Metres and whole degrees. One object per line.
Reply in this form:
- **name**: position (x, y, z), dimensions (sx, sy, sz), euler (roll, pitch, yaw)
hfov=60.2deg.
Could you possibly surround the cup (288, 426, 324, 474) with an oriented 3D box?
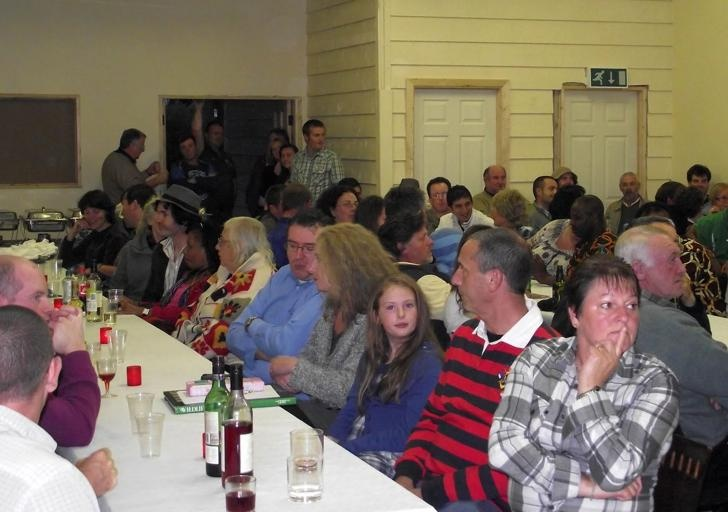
- **cup**: position (-0.166, 0.568, 1.855), dimensions (0.104, 0.121, 0.107), euler (0, 7, 0)

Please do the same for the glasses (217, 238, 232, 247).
- **glasses**: position (-0.965, -0.083, 4.329), dimensions (0.060, 0.057, 0.074), euler (1, -13, 29)

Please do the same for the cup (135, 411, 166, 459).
- **cup**: position (-0.729, 0.611, 2.210), dimensions (0.128, 0.176, 0.148), euler (1, -1, -11)

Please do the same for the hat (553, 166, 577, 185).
- **hat**: position (2.565, -1.032, 8.054), dimensions (0.211, 0.165, 0.292), euler (-3, 7, -8)

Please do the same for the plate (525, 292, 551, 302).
- **plate**: position (1.181, 0.280, 4.261), dimensions (0.156, 0.059, 0.160), euler (1, 2, 8)

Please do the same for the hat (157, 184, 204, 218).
- **hat**: position (-1.483, -0.458, 5.117), dimensions (0.325, 0.123, 0.283), euler (26, -1, 4)

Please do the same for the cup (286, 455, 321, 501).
- **cup**: position (-0.170, 0.652, 1.863), dimensions (0.112, 0.129, 0.114), euler (-1, -8, 0)

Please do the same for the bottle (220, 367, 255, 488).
- **bottle**: position (-0.380, 0.519, 1.875), dimensions (0.098, 0.379, 0.256), euler (0, 5, -13)
